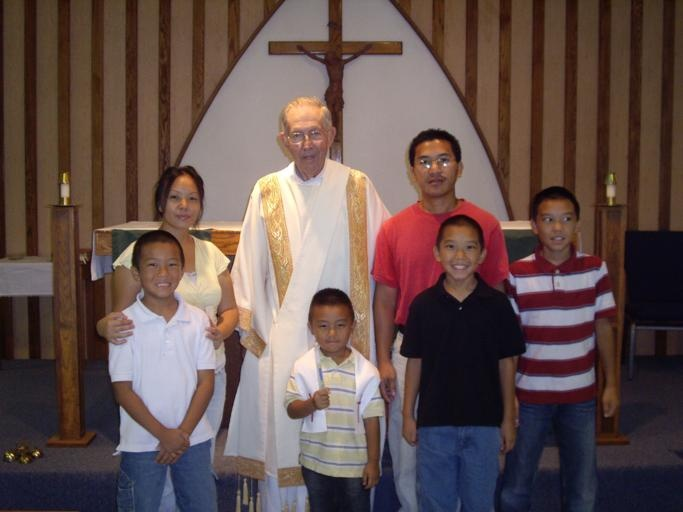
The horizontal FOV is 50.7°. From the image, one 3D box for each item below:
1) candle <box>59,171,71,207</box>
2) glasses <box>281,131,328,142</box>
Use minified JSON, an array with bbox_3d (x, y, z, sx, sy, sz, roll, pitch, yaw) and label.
[{"bbox_3d":[-1.741,-0.428,4.528,0.052,0.205,0.118,-1,-1,-28],"label":"candle"},{"bbox_3d":[-0.191,-0.617,3.702,0.179,0.048,0.040,-2,-1,-1],"label":"glasses"}]
